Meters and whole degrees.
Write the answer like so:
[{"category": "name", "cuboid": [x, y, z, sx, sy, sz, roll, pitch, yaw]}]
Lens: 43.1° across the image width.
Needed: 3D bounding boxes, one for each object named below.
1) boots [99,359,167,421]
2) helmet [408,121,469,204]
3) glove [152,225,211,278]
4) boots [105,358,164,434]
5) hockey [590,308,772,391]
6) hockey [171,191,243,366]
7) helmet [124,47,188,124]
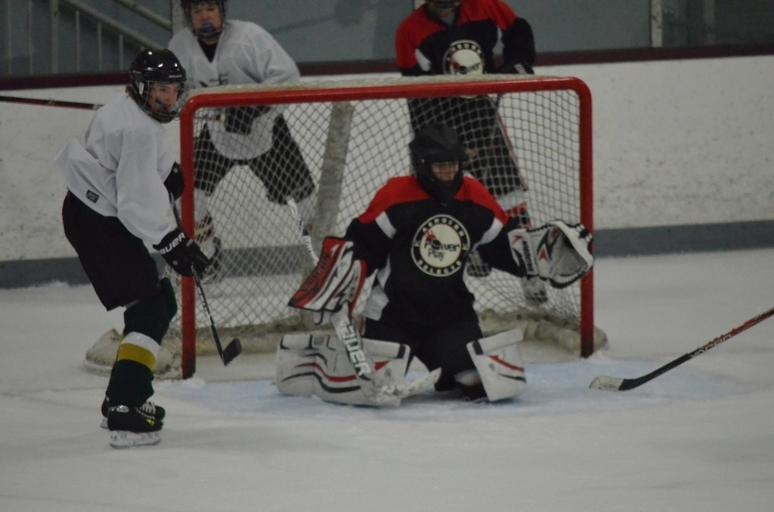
[{"category": "boots", "cuboid": [-1.166, 0.653, 4.569, 0.204, 0.338, 0.358, 3, -11, 21]}, {"category": "helmet", "cuboid": [0.221, -0.468, 4.776, 0.281, 0.350, 0.359, -12, 46, -9]}, {"category": "glove", "cuboid": [-0.964, -0.017, 4.664, 0.167, 0.302, 0.097, -34, 32, 16]}, {"category": "boots", "cuboid": [-1.187, 0.660, 4.579, 0.218, 0.350, 0.372, -1, -9, 17]}, {"category": "hockey", "cuboid": [1.557, 0.508, 5.173, 0.801, 0.062, 0.160, -18, 48, -5]}, {"category": "hockey", "cuboid": [-1.006, 0.154, 5.430, 0.113, 1.322, 0.276, -23, 43, -7]}, {"category": "helmet", "cuboid": [-1.107, -0.848, 4.781, 0.277, 0.352, 0.334, -7, 20, -41]}]
